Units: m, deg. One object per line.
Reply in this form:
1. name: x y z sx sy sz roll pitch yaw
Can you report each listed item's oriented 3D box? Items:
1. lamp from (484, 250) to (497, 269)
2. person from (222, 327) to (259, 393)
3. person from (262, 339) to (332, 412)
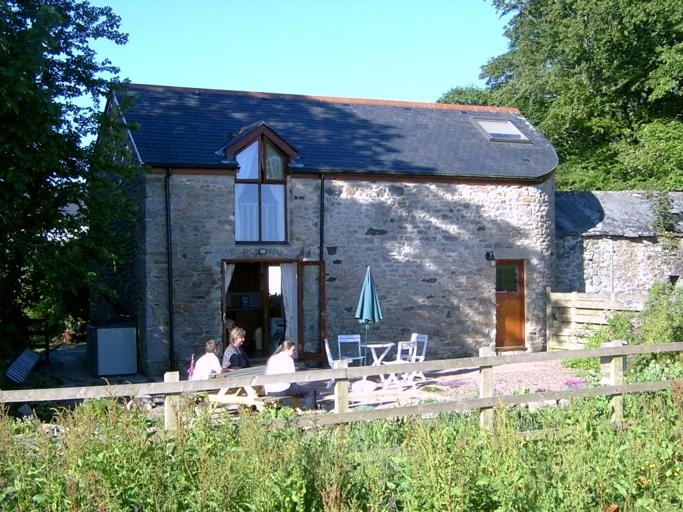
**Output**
1. lamp: 3.837 0.085 18.813 0.263 0.434 0.143 -2 -2 -19
2. person: -1.897 2.034 13.141 0.401 1.420 0.531 6 11 20
3. person: -0.843 2.079 11.995 0.821 1.367 0.530 -5 3 -22
